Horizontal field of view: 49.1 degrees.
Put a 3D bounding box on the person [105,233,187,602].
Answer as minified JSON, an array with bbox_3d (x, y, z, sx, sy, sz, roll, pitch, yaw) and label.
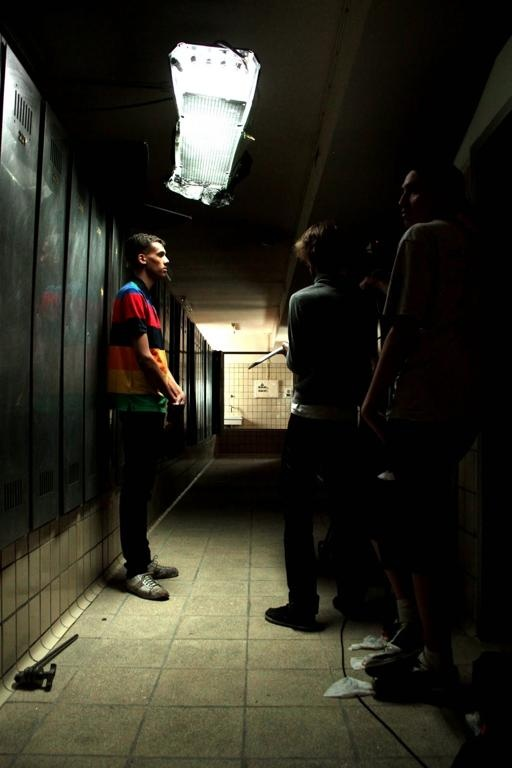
[{"bbox_3d":[-0.496,0.096,2.507,0.335,1.613,0.418,1,-3,-15],"label":"person"}]

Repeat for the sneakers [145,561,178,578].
[{"bbox_3d":[-0.442,0.864,2.636,0.151,0.088,0.058,0,11,-13],"label":"sneakers"}]

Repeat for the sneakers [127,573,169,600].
[{"bbox_3d":[-0.454,0.838,2.344,0.075,0.101,0.208,5,-14,-40],"label":"sneakers"}]
